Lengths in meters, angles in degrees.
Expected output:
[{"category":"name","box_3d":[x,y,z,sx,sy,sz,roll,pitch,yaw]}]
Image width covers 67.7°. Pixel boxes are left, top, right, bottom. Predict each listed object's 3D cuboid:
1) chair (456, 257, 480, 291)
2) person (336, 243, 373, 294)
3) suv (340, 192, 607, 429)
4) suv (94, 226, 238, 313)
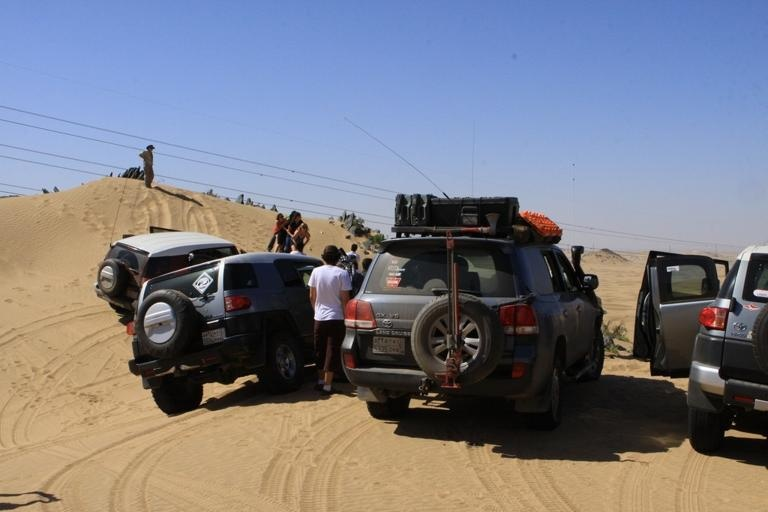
[{"category":"chair","box_3d":[1.114,0.235,7.705,0.355,0.468,0.234,1,7,30]},{"category":"person","box_3d":[-0.731,0.246,14.101,0.855,0.830,1.597,4,10,16]},{"category":"suv","box_3d":[1.564,0.797,8.387,3.800,3.435,2.157,-7,7,-40]},{"category":"suv","box_3d":[-5.847,0.643,15.630,2.480,1.663,3.974,15,26,39]}]
